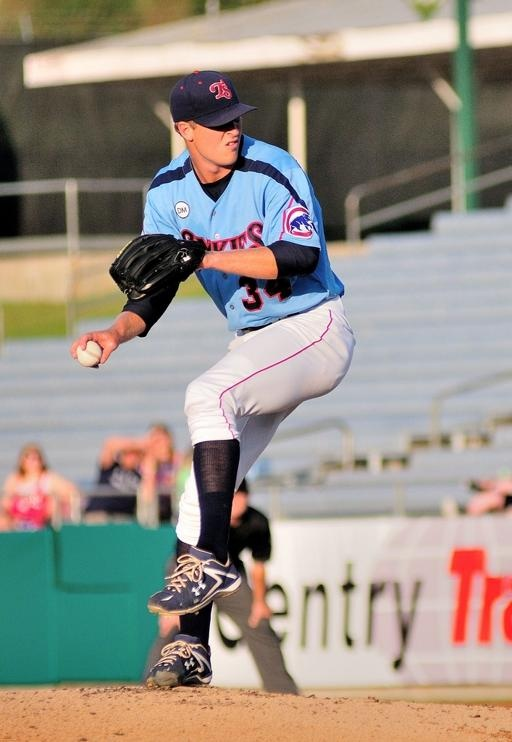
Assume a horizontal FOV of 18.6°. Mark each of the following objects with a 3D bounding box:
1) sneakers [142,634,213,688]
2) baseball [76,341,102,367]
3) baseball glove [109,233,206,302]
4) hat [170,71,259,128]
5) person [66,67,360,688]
[{"bbox_3d":[-0.309,1.223,6.600,0.148,0.158,0.360,2,-3,27],"label":"sneakers"},{"bbox_3d":[-0.711,-0.071,6.666,0.100,0.117,0.172,-6,7,-13],"label":"baseball"},{"bbox_3d":[-0.422,-0.458,6.590,0.359,0.153,0.254,-23,39,7],"label":"baseball glove"},{"bbox_3d":[-0.197,-1.152,6.667,0.355,0.174,0.220,5,25,29],"label":"hat"},{"bbox_3d":[-0.154,0.017,6.746,1.120,2.621,0.716,-10,9,-34],"label":"person"}]
